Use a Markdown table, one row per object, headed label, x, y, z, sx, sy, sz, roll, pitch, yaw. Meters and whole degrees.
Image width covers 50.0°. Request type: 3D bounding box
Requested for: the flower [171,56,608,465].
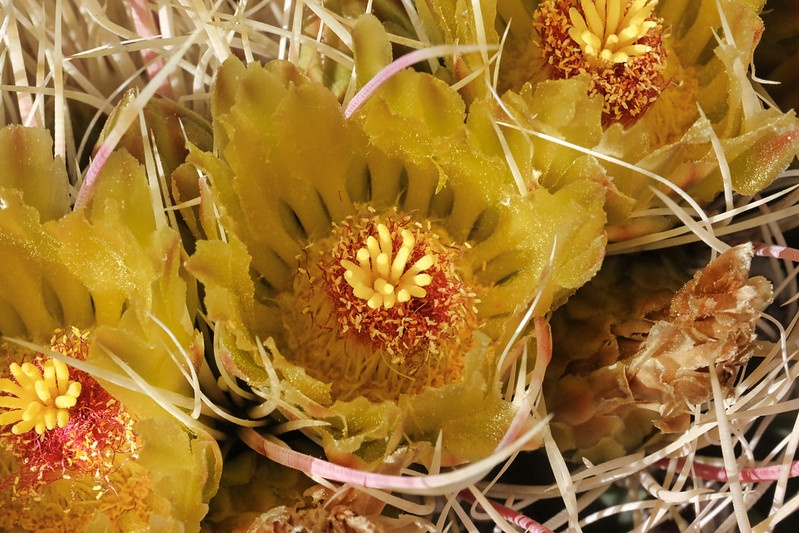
| label | x | y | z | sx | sy | sz | roll | pitch | yaw |
| --- | --- | --- | --- | --- | --- | --- | --- | --- | --- |
| flower | -0.007 | -0.003 | 0.731 | 0.344 | 0.128 | 0.331 | 4 | 83 | 0 |
